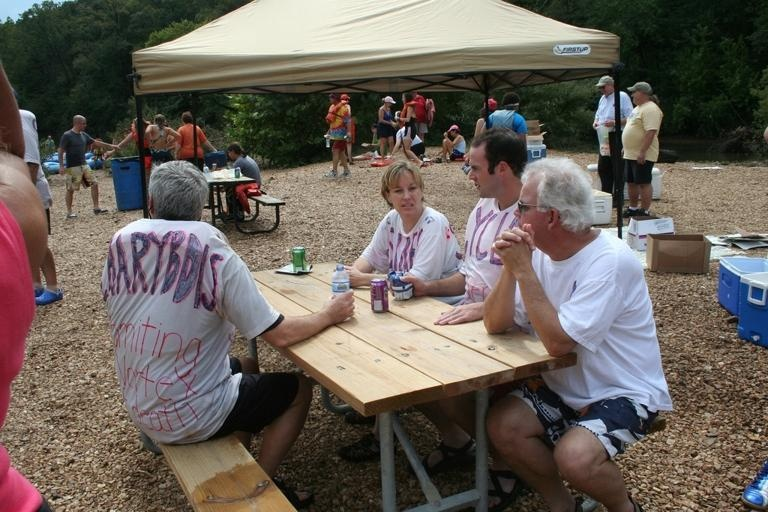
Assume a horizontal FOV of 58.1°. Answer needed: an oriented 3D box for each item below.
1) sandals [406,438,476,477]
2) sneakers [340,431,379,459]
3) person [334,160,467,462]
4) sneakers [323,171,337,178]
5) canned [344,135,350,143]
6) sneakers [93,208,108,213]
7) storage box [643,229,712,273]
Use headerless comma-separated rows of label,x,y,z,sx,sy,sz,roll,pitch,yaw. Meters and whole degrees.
sandals,0.360,1.393,4.844,0.535,0.214,0.203,-19,5,7
sneakers,-0.174,1.366,4.978,0.268,0.113,0.146,-3,19,-22
person,0.135,0.316,5.508,0.971,2.051,0.870,3,12,8
sneakers,-1.191,-1.814,15.337,0.311,0.143,0.125,4,9,-14
canned,-0.811,-2.529,14.762,0.130,0.065,0.177,-1,1,-2
sneakers,-5.574,-0.896,13.519,0.075,0.099,0.229,15,25,40
storage box,3.284,-0.054,7.685,0.501,0.309,0.491,2,6,13
